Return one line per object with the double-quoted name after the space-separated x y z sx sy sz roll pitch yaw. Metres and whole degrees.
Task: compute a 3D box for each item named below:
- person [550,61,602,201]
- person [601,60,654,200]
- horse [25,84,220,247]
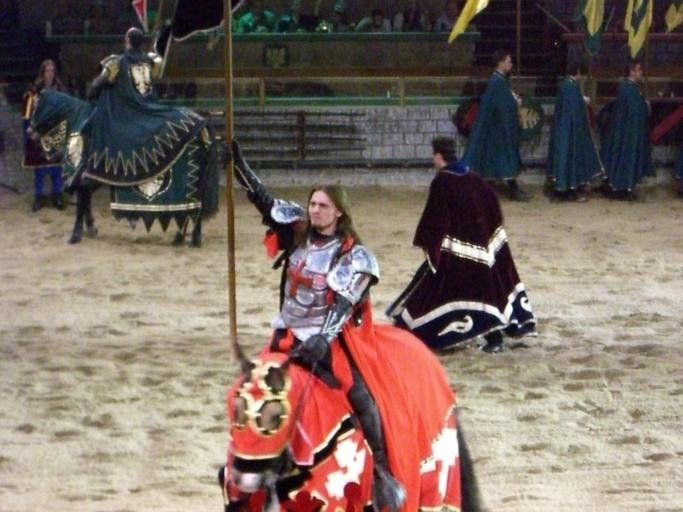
3.710 -2.047 29.123 0.773 2.009 0.502 3 9 7 "person"
4.624 -2.072 29.308 0.831 2.022 0.507 3 9 9 "person"
-3.180 -1.388 26.115 2.806 2.491 0.956 4 10 2 "horse"
